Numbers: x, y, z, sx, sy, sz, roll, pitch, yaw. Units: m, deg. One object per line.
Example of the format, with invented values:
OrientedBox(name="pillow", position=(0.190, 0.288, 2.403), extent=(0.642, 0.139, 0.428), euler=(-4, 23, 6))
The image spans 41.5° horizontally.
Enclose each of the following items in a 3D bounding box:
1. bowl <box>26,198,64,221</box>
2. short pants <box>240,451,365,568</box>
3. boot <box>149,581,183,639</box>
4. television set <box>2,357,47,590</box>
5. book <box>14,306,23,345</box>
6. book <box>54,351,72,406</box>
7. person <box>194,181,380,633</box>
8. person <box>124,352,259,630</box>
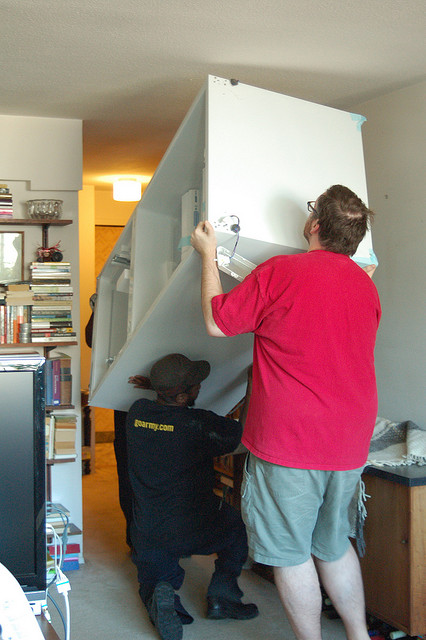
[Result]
OrientedBox(name="bowl", position=(-0.886, -0.561, 2.921), extent=(0.144, 0.075, 0.136), euler=(1, 9, 0))
OrientedBox(name="short pants", position=(0.252, 0.526, 1.557), extent=(0.332, 0.227, 0.228), euler=(-3, -2, -5))
OrientedBox(name="boot", position=(-0.160, 1.011, 1.997), extent=(0.089, 0.222, 0.096), euler=(-1, -23, -32))
OrientedBox(name="television set", position=(-0.335, 0.276, 0.997), extent=(0.084, 0.422, 0.048), euler=(-3, -2, -23))
OrientedBox(name="book", position=(-1.000, 0.022, 2.880), extent=(0.047, 0.183, 0.018), euler=(-3, -2, -7))
OrientedBox(name="book", position=(-0.775, 0.316, 2.900), extent=(0.100, 0.228, 0.257), euler=(0, -2, -16))
OrientedBox(name="person", position=(0.232, 0.292, 1.532), extent=(0.502, 0.866, 0.296), euler=(-3, -2, -2))
OrientedBox(name="person", position=(-0.091, 0.680, 2.272), extent=(0.553, 1.031, 0.472), euler=(-1, -6, -2))
